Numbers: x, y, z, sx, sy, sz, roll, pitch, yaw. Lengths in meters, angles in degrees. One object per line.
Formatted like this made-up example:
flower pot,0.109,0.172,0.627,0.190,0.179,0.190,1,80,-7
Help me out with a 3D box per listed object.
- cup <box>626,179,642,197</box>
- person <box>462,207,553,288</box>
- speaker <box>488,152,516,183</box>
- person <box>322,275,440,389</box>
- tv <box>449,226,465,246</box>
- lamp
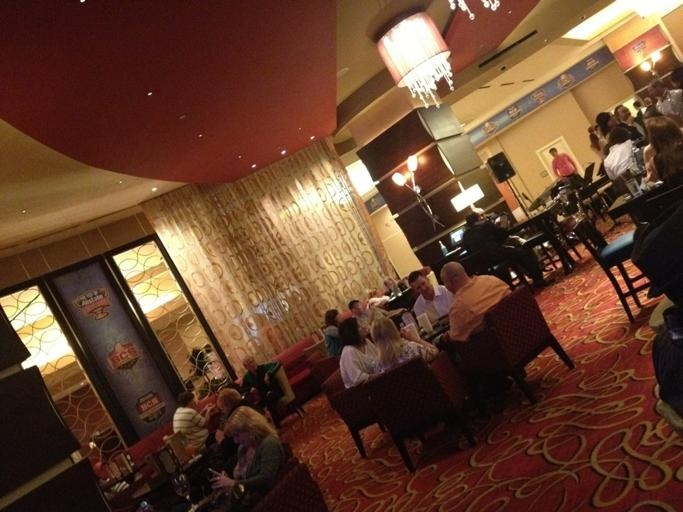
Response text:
cup,2.846,-0.672,4.591,0.106,0.203,0.113,-29,-8,-5
person,2.606,-0.132,7.554,1.094,1.309,1.011,-10,9,16
speaker,3.591,-2.020,10.679,0.445,0.726,0.482,-24,-2,14
person,0.339,0.710,4.395,0.858,0.630,0.623,-26,-1,32
tv,2.076,-0.369,8.534,0.258,0.361,0.507,1,8,4
lamp,1.095,-2.893,7.005,0.705,1.141,0.738,-20,-20,-4
